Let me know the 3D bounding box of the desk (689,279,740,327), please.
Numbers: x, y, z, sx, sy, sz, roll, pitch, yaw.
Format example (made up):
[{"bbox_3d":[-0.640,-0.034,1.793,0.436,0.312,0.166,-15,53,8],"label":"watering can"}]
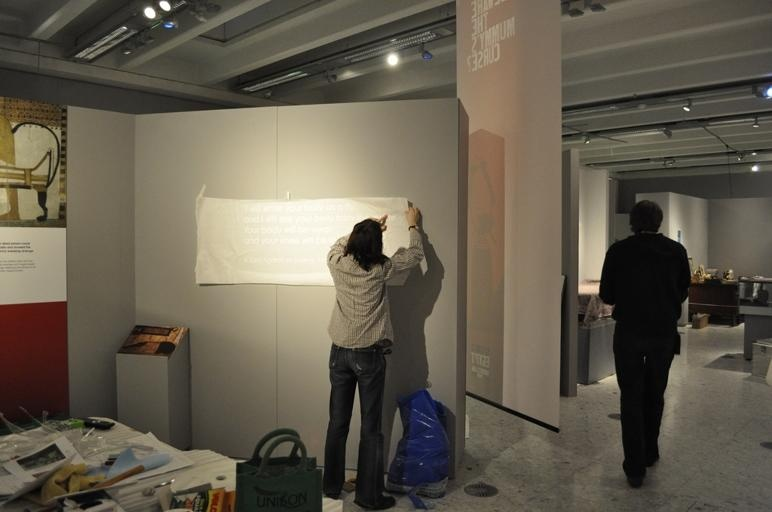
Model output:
[{"bbox_3d":[7.002,0.989,12.221,1.240,1.161,0.666,2,4,37],"label":"desk"}]

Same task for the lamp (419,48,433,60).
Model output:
[{"bbox_3d":[0.532,-2.811,7.858,0.127,0.132,0.077,12,-27,-34],"label":"lamp"}]

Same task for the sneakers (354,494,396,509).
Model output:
[{"bbox_3d":[-0.093,2.206,5.087,0.372,0.107,0.115,-2,10,-11],"label":"sneakers"}]

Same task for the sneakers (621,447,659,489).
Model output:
[{"bbox_3d":[2.437,2.051,5.541,0.180,0.233,0.596,-18,4,40],"label":"sneakers"}]

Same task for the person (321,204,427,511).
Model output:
[{"bbox_3d":[-0.185,0.963,5.136,0.733,2.528,0.609,1,9,4],"label":"person"}]

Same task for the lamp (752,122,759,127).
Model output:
[{"bbox_3d":[6.228,-2.252,9.663,0.108,0.047,0.143,1,3,10],"label":"lamp"}]
